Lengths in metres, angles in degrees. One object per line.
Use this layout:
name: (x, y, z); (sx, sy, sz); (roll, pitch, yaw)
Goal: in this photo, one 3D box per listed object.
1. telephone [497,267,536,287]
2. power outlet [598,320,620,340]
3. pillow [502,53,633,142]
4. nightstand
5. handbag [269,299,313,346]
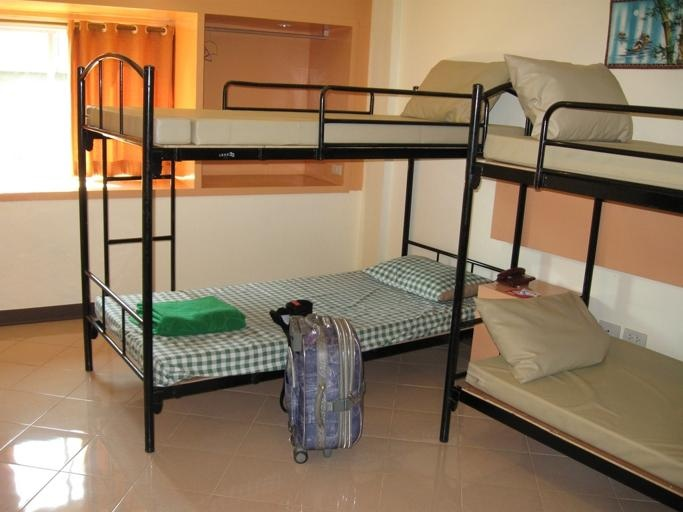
telephone: (1.337, 0.167, 4.263); (0.201, 0.090, 0.168); (-15, 18, -33)
power outlet: (1.884, 0.524, 3.910); (0.013, 0.125, 0.123); (-24, 30, -28)
pillow: (1.428, -0.990, 3.431); (0.809, 0.483, 0.399); (-6, 17, -27)
nightstand: (1.208, 0.439, 3.589); (0.546, 0.504, 0.292); (-7, 18, -22)
handbag: (-0.326, 0.435, 3.723); (0.258, 0.087, 0.200); (-17, 34, -31)
